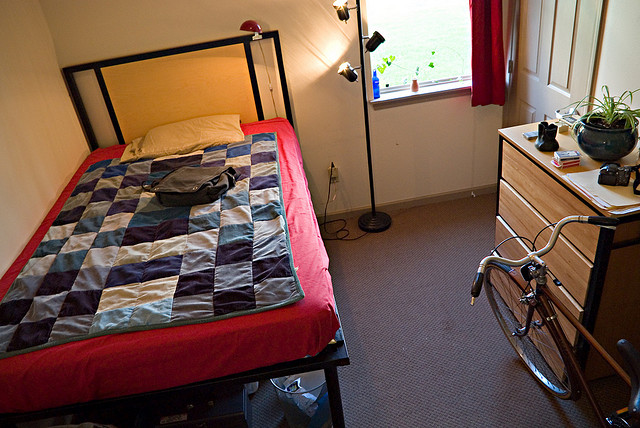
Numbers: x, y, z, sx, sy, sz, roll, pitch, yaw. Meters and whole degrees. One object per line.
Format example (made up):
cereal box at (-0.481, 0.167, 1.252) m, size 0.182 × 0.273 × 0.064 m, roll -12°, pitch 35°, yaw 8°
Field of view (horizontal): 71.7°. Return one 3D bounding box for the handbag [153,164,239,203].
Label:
handbag at (-0.985, -0.258, 3.302) m, size 0.487 × 0.121 × 0.478 m, roll -13°, pitch 34°, yaw -14°

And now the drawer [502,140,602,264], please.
drawer at (1.385, -0.082, 2.602) m, size 0.243 × 0.280 × 0.794 m, roll -10°, pitch 40°, yaw -3°

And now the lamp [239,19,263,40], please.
lamp at (-0.571, -1.538, 3.703) m, size 0.148 × 0.167 × 0.238 m, roll -9°, pitch 29°, yaw 1°

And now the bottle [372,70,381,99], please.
bottle at (0.517, -1.203, 4.085) m, size 0.065 × 0.240 × 0.127 m, roll -4°, pitch 30°, yaw 9°

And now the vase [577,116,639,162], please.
vase at (1.651, -0.404, 2.593) m, size 0.275 × 0.174 × 0.258 m, roll -11°, pitch 43°, yaw -5°

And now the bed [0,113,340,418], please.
bed at (-0.907, 0.483, 2.698) m, size 1.834 × 0.439 × 1.888 m, roll -8°, pitch 42°, yaw -3°

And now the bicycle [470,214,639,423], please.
bicycle at (1.400, 0.648, 2.584) m, size 0.593 × 0.673 × 1.102 m, roll -15°, pitch 43°, yaw -10°

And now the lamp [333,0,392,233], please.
lamp at (0.418, -0.840, 3.923) m, size 0.389 × 1.974 × 0.679 m, roll -5°, pitch 30°, yaw 9°

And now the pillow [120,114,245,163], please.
pillow at (-1.208, -0.675, 3.873) m, size 1.054 × 0.194 × 0.346 m, roll -10°, pitch 29°, yaw -2°

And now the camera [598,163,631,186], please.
camera at (1.597, -0.206, 2.388) m, size 0.122 × 0.123 × 0.078 m, roll 11°, pitch -2°, yaw 14°

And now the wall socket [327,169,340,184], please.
wall socket at (0.127, -0.372, 4.280) m, size 0.111 × 0.111 × 0.111 m, roll -3°, pitch 48°, yaw 0°

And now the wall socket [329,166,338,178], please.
wall socket at (0.137, -0.403, 4.238) m, size 0.109 × 0.138 × 0.076 m, roll 0°, pitch 32°, yaw 2°
